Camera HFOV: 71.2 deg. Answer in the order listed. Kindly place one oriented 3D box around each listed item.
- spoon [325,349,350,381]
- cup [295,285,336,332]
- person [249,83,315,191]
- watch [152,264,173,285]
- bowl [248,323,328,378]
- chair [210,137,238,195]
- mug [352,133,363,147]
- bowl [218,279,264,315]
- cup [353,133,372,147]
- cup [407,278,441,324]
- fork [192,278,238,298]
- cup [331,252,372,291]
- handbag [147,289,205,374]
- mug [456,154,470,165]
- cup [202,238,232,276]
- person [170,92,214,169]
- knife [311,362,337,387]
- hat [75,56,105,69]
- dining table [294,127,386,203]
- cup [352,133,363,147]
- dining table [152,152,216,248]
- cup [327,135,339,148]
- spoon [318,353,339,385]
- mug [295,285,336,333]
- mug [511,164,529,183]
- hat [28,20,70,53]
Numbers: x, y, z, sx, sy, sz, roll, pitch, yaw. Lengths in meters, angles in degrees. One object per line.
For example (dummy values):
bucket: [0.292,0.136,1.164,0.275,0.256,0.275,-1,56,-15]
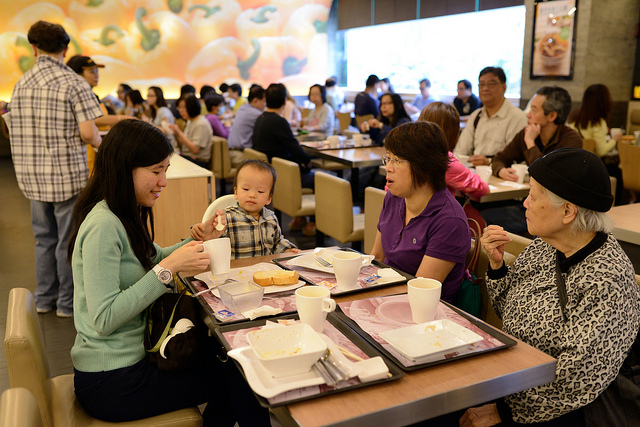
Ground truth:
spoon: [0.053,0.443,1.318,0.035,0.013,0.104,-18,27,-22]
cup: [-0.006,0.337,1.504,0.120,0.127,0.175,-1,3,-36]
person: [-0.395,-0.829,5.467,0.867,1.471,0.682,-19,34,-35]
watch: [-0.599,0.231,1.695,0.053,0.082,0.072,-49,16,-5]
bowl: [-0.101,0.412,1.342,0.219,0.099,0.130,-6,16,-12]
chair: [-1.214,-0.600,6.143,0.485,0.773,0.582,-5,8,-19]
mug: [0.468,-0.897,5.521,0.121,0.139,0.148,0,1,9]
bowl: [-0.302,0.300,1.681,0.110,0.065,0.132,-5,10,-30]
cup: [0.518,-0.907,5.531,0.228,0.164,0.153,4,11,38]
cup: [0.365,0.306,1.577,0.133,0.152,0.133,-1,6,0]
fork: [-0.419,0.284,1.776,0.176,0.014,0.056,-18,22,-25]
cup: [0.135,0.236,1.821,0.178,0.130,0.116,-4,7,-31]
handbag: [-0.543,0.462,1.849,0.201,0.359,0.278,-3,8,13]
mug: [1.307,-0.491,4.083,0.132,0.078,0.159,-1,8,-4]
cup: [-0.385,0.175,1.813,0.153,0.139,0.101,-7,1,34]
person: [-1.760,-0.952,6.058,0.657,1.261,0.605,0,15,-20]
knife: [0.010,0.466,1.295,0.027,0.015,0.101,-16,20,-13]
hat: [-2.036,-1.311,3.924,0.176,0.094,0.111,-10,11,1]
dining table: [0.302,-0.463,5.472,0.750,0.417,1.714,8,10,-24]
cup: [0.453,-0.898,5.507,0.154,0.147,0.129,-2,13,1]
dining table: [-1.003,-0.076,3.232,0.266,0.641,0.678,0,26,-26]
cup: [0.150,-0.867,5.325,0.150,0.184,0.151,1,20,0]
spoon: [0.028,0.450,1.303,0.029,0.013,0.095,-7,22,-20]
mug: [-0.006,0.336,1.503,0.120,0.132,0.175,-5,8,-36]
mug: [1.633,-0.332,3.656,0.112,0.137,0.289,4,17,22]
hat: [-1.928,-1.241,3.180,0.212,0.229,0.250,17,11,-19]
